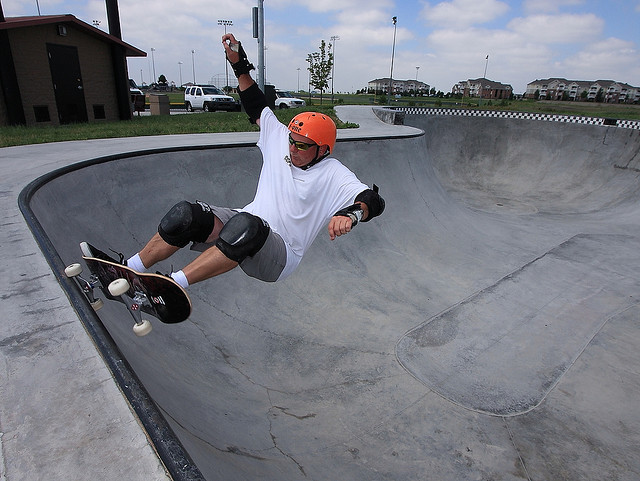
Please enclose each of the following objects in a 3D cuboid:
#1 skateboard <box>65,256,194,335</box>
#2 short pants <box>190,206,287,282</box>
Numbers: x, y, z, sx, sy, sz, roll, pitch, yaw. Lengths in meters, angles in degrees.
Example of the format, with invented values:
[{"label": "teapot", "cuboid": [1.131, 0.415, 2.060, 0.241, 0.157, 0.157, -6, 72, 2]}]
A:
[{"label": "skateboard", "cuboid": [-1.492, 0.320, 3.027, 1.208, 0.476, 0.205, 11, 38, 28]}, {"label": "short pants", "cuboid": [-0.593, 0.127, 3.283, 0.677, 0.291, 0.659, 32, 16, 34]}]
